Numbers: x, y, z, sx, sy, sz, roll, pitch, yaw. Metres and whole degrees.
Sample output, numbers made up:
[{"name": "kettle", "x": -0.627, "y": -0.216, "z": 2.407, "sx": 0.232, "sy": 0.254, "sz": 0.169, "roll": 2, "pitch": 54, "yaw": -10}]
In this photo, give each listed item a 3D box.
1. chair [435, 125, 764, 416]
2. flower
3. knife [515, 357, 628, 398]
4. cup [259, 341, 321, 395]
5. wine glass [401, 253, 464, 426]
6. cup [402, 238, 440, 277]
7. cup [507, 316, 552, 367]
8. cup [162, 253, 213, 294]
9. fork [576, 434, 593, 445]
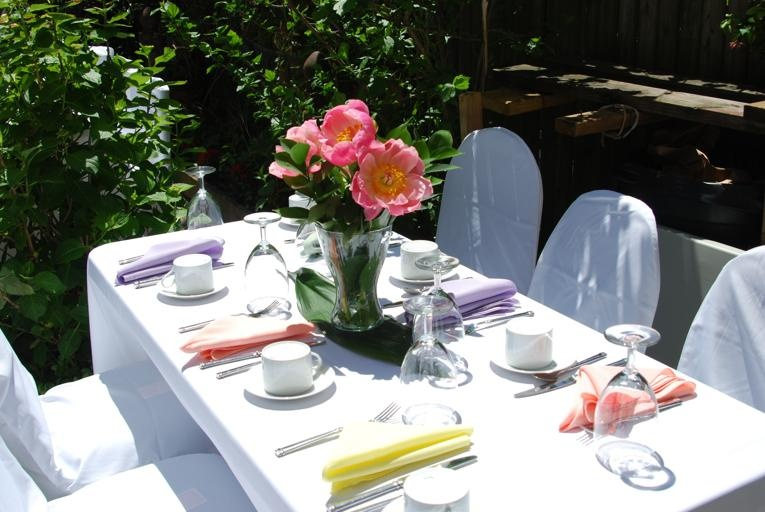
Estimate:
[{"name": "chair", "x": 0.701, "y": 0.028, "z": 1.763, "sx": 0.239, "sy": 0.362, "sz": 0.874, "roll": -20, "pitch": 37, "yaw": -24}, {"name": "flower", "x": -0.077, "y": -0.119, "z": 1.512, "sx": 0.497, "sy": 0.583, "sz": 0.457, "roll": -18, "pitch": 27, "yaw": -38}, {"name": "knife", "x": 0.402, "y": 0.267, "z": 1.220, "sx": 0.276, "sy": 0.021, "sz": 0.031, "roll": -19, "pitch": 42, "yaw": -21}, {"name": "cup", "x": -0.212, "y": 0.256, "z": 1.282, "sx": 0.119, "sy": 0.085, "sz": 0.086, "roll": -10, "pitch": 16, "yaw": -37}, {"name": "wine glass", "x": 0.122, "y": 0.173, "z": 1.266, "sx": 0.151, "sy": 0.272, "sz": 0.425, "roll": 0, "pitch": 33, "yaw": 5}, {"name": "cup", "x": 0.117, "y": 0.005, "z": 1.708, "sx": 0.103, "sy": 0.082, "sz": 0.107, "roll": -1, "pitch": 15, "yaw": 0}, {"name": "cup", "x": 0.337, "y": 0.203, "z": 1.291, "sx": 0.098, "sy": 0.078, "sz": 0.103, "roll": -3, "pitch": 17, "yaw": 1}, {"name": "cup", "x": -0.577, "y": 0.044, "z": 1.653, "sx": 0.120, "sy": 0.090, "sz": 0.090, "roll": -5, "pitch": 19, "yaw": -20}, {"name": "fork", "x": 0.402, "y": 0.366, "z": 1.117, "sx": 0.032, "sy": 0.004, "sz": 0.023, "roll": -24, "pitch": 39, "yaw": -29}]
